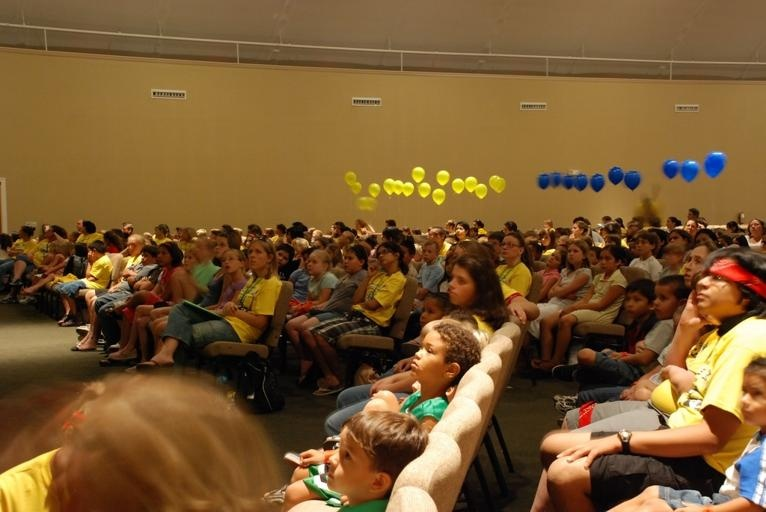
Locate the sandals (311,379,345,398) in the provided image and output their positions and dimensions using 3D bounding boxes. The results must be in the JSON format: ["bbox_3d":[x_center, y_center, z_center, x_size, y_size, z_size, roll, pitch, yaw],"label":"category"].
[{"bbox_3d":[-0.494,1.188,4.924,0.117,0.072,0.253,-7,-10,45],"label":"sandals"}]

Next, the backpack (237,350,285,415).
[{"bbox_3d":[-0.992,1.017,4.500,0.386,0.542,0.319,3,-7,-2],"label":"backpack"}]
